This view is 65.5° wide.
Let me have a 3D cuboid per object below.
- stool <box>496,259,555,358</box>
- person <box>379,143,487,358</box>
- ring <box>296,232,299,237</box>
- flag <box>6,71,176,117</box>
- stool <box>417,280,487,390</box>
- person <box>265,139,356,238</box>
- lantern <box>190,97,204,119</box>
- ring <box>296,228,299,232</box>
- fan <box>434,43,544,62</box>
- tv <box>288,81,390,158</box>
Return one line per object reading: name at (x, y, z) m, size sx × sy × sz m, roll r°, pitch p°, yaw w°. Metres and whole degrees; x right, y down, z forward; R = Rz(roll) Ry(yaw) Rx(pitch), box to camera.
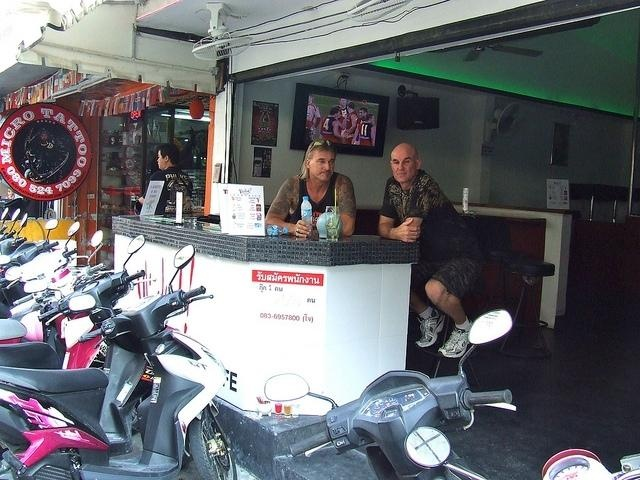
stool at (2.134, 0.673, 5.101) m, size 0.529 × 1.017 × 0.554 m, roll 0°, pitch -3°, yaw 26°
person at (1.015, 0.085, 4.476) m, size 0.907 × 2.401 × 0.678 m, roll 0°, pitch 1°, yaw -23°
ring at (-0.163, -0.033, 3.686) m, size 0.014 × 0.035 × 0.015 m, roll -3°, pitch 16°, yaw -6°
flag at (-3.542, -2.213, 7.669) m, size 3.806 × 0.415 × 1.383 m, roll 9°, pitch 9°, yaw 43°
stool at (1.152, 0.702, 4.551) m, size 0.566 × 1.089 × 0.603 m, roll 0°, pitch 8°, yaw -23°
person at (-0.016, -0.388, 4.255) m, size 0.625 × 0.987 × 0.572 m, roll -1°, pitch 10°, yaw -17°
lantern at (-1.643, -1.741, 6.651) m, size 0.151 × 0.248 × 0.238 m, roll 2°, pitch 6°, yaw -10°
ring at (-0.168, -0.066, 3.692) m, size 0.020 × 0.039 × 0.020 m, roll 1°, pitch -4°, yaw 0°
fan at (2.755, -3.203, 8.405) m, size 1.710 × 0.269 × 1.779 m, roll 8°, pitch 16°, yaw 29°
tv at (0.262, -1.697, 7.456) m, size 1.923 × 1.056 × 0.221 m, roll -3°, pitch 8°, yaw -43°
